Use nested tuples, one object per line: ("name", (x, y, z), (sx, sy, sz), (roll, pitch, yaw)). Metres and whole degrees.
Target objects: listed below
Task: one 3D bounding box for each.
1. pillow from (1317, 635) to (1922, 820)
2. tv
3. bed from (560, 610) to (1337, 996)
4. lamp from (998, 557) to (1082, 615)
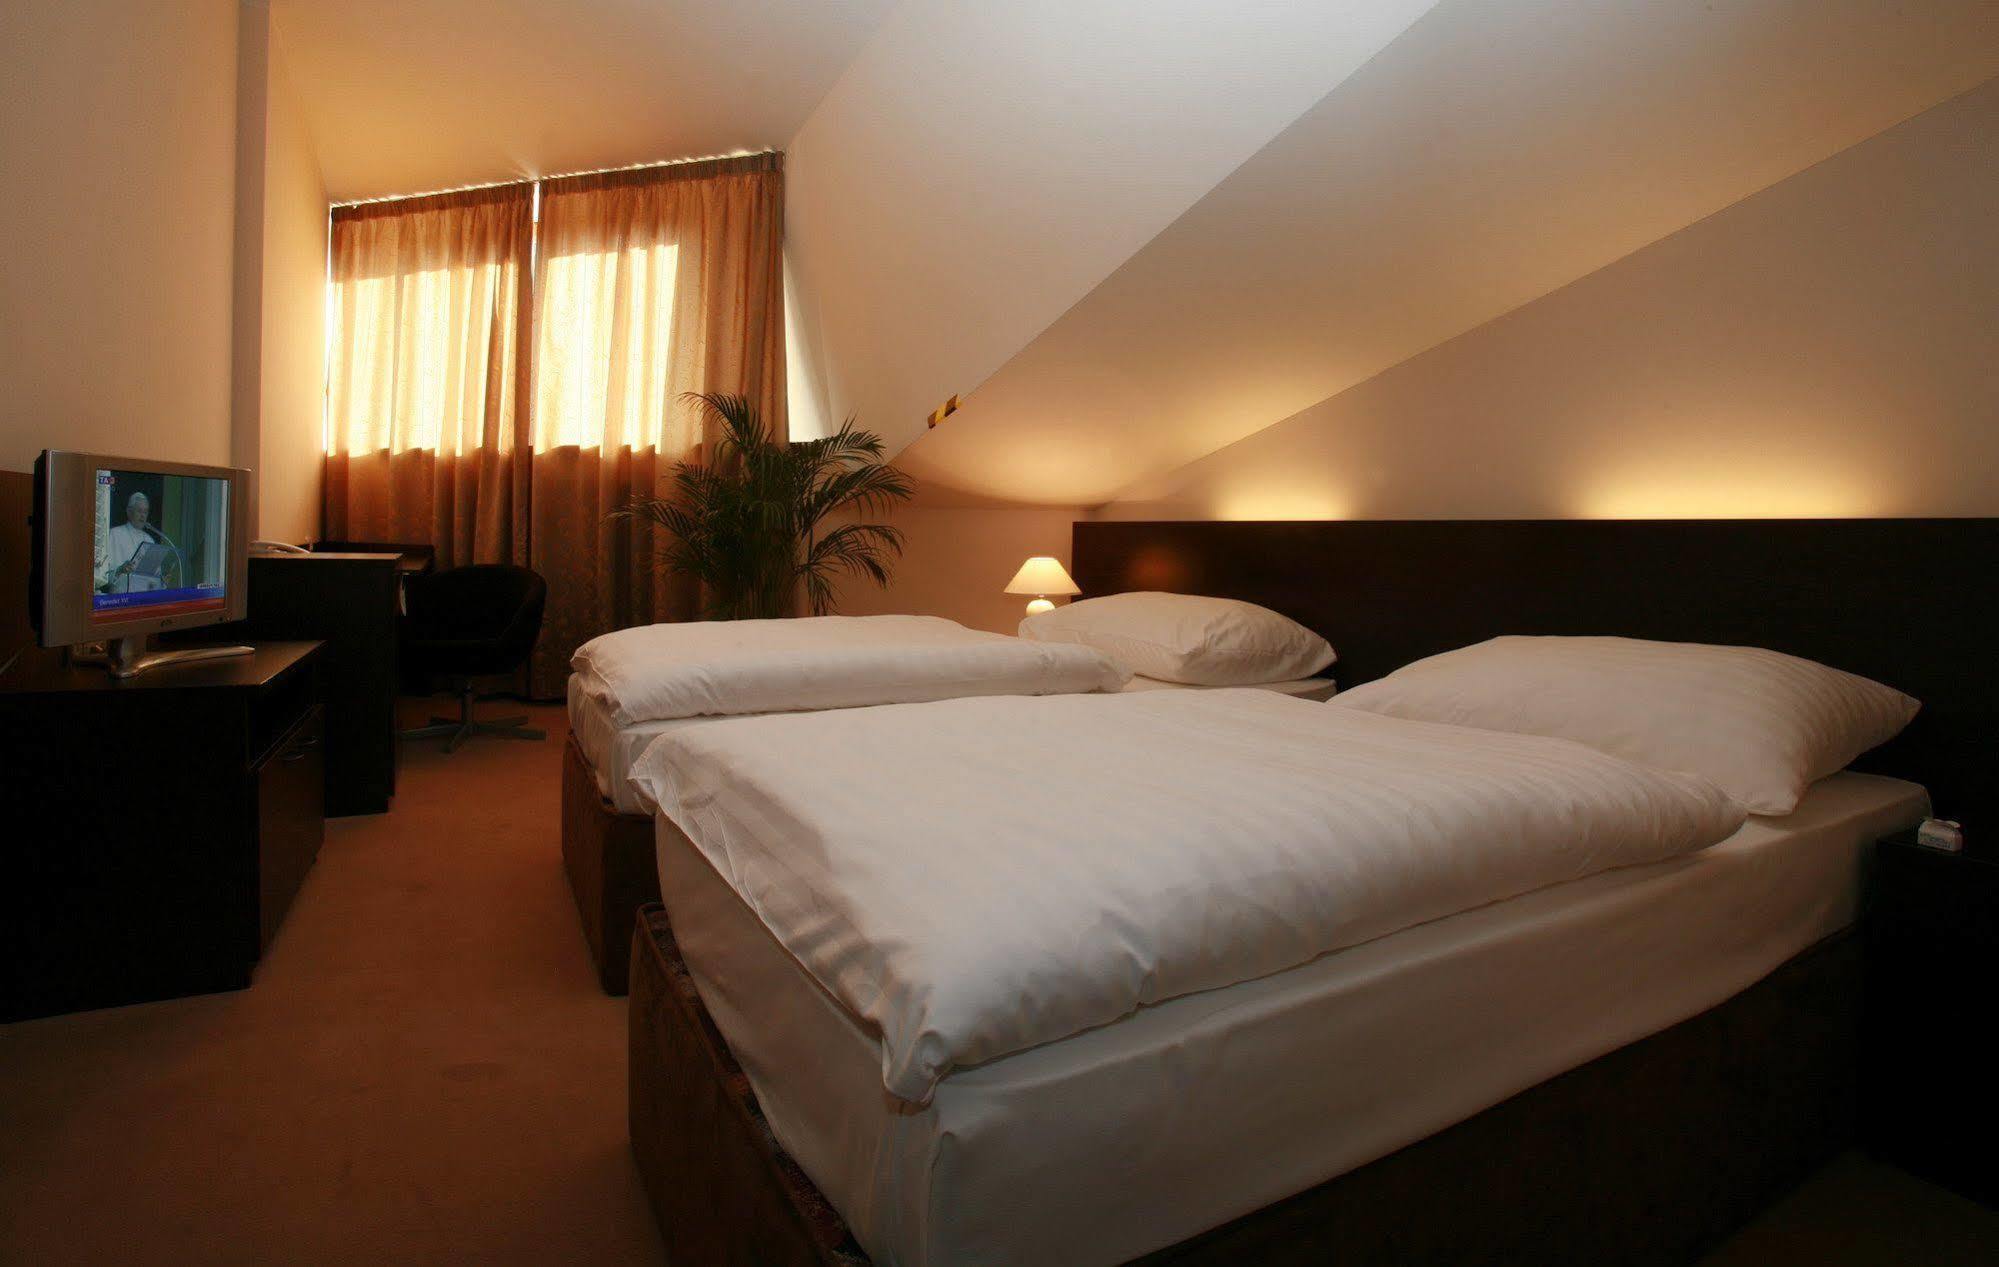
("pillow", (1.798, 0.178, 3.917), (1.364, 0.324, 1.238), (7, 13, 42))
("tv", (-2.536, -0.198, 3.853), (0.317, 0.608, 0.737), (5, 1, 1))
("bed", (-0.323, 0.263, 4.210), (1.643, 0.645, 1.576), (1, 3, -14))
("lamp", (0.188, -0.233, 5.950), (0.298, 0.290, 0.294), (-1, 0, -23))
